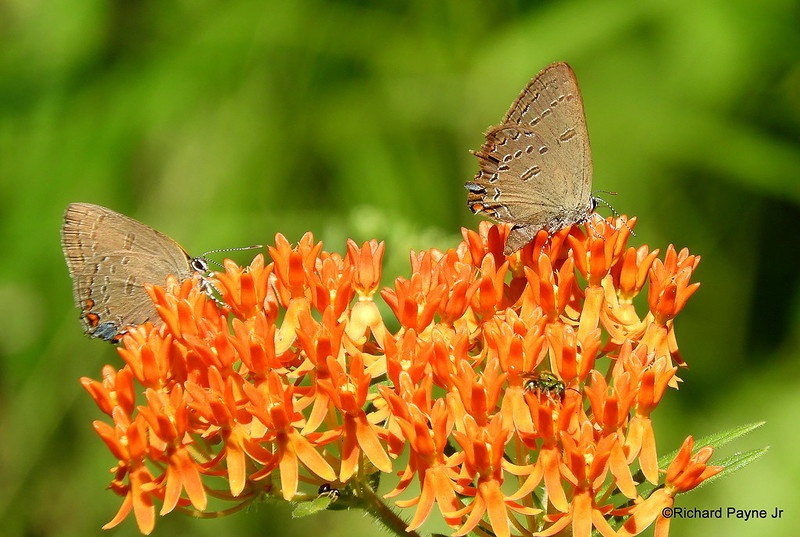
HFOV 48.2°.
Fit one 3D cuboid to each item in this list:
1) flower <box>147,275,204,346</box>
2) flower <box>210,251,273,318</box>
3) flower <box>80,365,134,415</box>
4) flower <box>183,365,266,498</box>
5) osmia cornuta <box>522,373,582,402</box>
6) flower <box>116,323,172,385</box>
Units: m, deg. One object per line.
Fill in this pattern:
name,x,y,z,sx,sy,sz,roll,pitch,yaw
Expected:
flower,-0.953,0.172,3.829,0.256,0.269,0.258,8,-13,-24
flower,-0.656,0.073,3.889,0.290,0.154,0.288,-13,10,-19
flower,-1.217,0.496,3.772,0.198,0.153,0.205,3,-3,2
flower,-0.678,0.634,3.627,0.485,0.182,0.483,21,-5,-9
osmia cornuta,0.591,0.465,3.566,0.170,0.054,0.124,16,3,4
flower,-1.024,0.367,3.759,0.244,0.271,0.240,9,-25,-24
